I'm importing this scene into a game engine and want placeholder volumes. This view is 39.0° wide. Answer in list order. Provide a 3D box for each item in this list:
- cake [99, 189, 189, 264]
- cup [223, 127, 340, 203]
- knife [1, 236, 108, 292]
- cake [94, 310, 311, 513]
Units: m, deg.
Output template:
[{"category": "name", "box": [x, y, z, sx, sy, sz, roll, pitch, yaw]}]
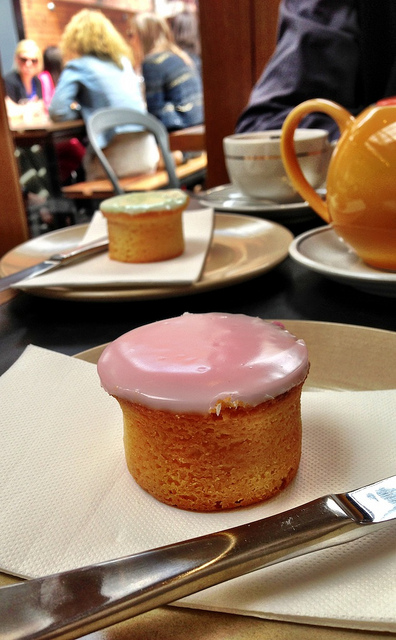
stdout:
[{"category": "cake", "box": [-0.057, -0.109, 0.629, 0.093, 0.064, 0.091, -26, 31, -37]}, {"category": "cup", "box": [0.105, -0.211, 0.818, 0.192, 0.086, 0.119, -3, 25, 2]}, {"category": "knife", "box": [-0.145, -0.060, 0.568, 0.032, 0.010, 0.238, 4, 17, 26]}, {"category": "cake", "box": [0.005, 0.043, 0.298, 0.108, 0.077, 0.100, -4, 22, 0]}]
